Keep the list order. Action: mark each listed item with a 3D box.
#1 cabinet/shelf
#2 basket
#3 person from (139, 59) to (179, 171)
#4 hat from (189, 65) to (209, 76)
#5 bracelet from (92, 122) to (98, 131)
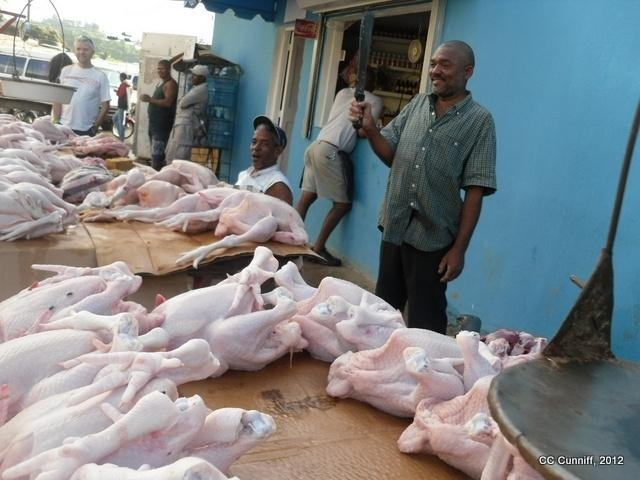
[{"bbox_3d":[1.180,-2.554,7.853,0.806,0.895,0.275,13,8,22],"label":"cabinet/shelf"},{"bbox_3d":[-2.185,-2.649,10.929,1.027,2.082,1.895,1,7,-20],"label":"basket"},{"bbox_3d":[-3.313,-2.445,10.537,0.640,2.355,0.781,4,15,-14],"label":"person"},{"bbox_3d":[-2.252,-3.163,9.729,0.234,0.140,0.197,2,9,-8],"label":"hat"},{"bbox_3d":[-3.064,-1.550,7.060,0.062,0.087,0.084,-39,8,-21],"label":"bracelet"}]
